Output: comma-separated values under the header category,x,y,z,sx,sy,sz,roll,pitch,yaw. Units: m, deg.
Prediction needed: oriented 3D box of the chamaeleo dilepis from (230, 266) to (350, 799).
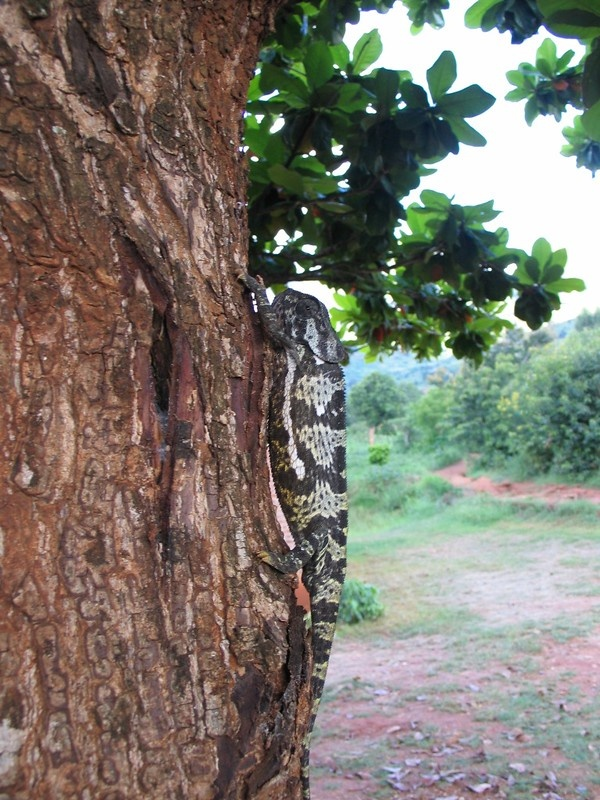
category,x,y,z,sx,sy,sz,roll,pitch,yaw
chamaeleo dilepis,-0.067,0.426,3.845,0.309,1.677,0.459,-9,-13,27
